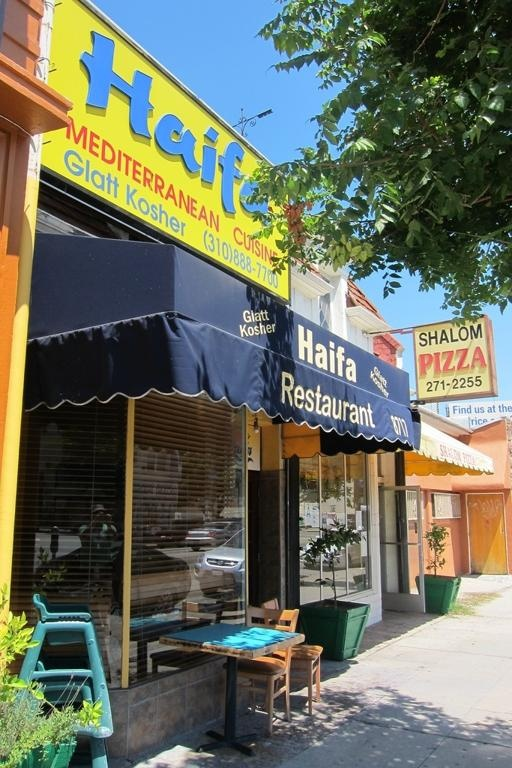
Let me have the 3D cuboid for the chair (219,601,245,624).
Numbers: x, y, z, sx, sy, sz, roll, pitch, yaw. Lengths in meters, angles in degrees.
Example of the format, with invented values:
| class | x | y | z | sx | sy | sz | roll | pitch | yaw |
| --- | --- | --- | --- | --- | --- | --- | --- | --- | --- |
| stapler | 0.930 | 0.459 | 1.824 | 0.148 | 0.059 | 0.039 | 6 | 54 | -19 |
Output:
| class | x | y | z | sx | sy | sz | roll | pitch | yaw |
| --- | --- | --- | --- | --- | --- | --- | --- | --- | --- |
| chair | -0.251 | 2.316 | 5.756 | 0.251 | 0.176 | 0.262 | -6 | -11 | 29 |

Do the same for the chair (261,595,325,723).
| class | x | y | z | sx | sy | sz | roll | pitch | yaw |
| --- | --- | --- | --- | --- | --- | --- | --- | --- | --- |
| chair | 0.434 | 2.784 | 5.704 | 0.453 | 0.768 | 0.435 | 8 | -19 | 19 |

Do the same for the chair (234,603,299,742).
| class | x | y | z | sx | sy | sz | roll | pitch | yaw |
| --- | --- | --- | --- | --- | --- | --- | --- | --- | --- |
| chair | 0.070 | 2.656 | 5.292 | 0.527 | 0.977 | 0.563 | -12 | -19 | 41 |

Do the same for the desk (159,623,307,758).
| class | x | y | z | sx | sy | sz | roll | pitch | yaw |
| --- | --- | --- | --- | --- | --- | --- | --- | --- | --- |
| desk | -0.216 | 2.534 | 4.673 | 0.863 | 0.918 | 0.879 | 6 | -12 | -34 |
